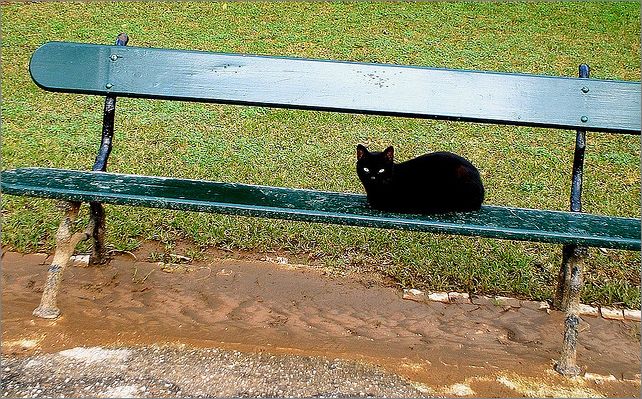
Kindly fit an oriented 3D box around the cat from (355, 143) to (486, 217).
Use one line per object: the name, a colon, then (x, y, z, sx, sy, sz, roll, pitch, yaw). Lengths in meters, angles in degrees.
cat: (0.769, -0.160, 4.845, 0.944, 0.449, 0.527, 0, 10, 2)
